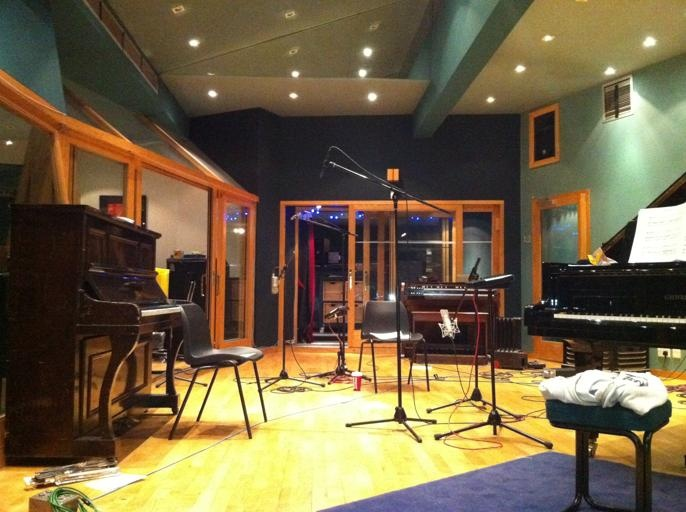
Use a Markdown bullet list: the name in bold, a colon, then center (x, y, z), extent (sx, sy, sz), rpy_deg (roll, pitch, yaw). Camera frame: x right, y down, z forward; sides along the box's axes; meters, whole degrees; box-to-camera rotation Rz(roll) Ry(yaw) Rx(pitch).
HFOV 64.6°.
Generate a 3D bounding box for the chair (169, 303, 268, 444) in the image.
- **chair**: center (-1.032, 0.946, 4.552), extent (0.833, 1.073, 0.812), rpy_deg (-3, -3, 30)

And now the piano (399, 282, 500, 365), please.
- **piano**: center (1.370, 0.827, 7.139), extent (1.406, 1.510, 1.038), rpy_deg (0, -4, 1)

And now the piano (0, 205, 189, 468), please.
- **piano**: center (-1.891, 0.651, 4.056), extent (0.882, 1.897, 1.888), rpy_deg (-1, -2, -6)

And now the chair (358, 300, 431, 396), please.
- **chair**: center (0.480, 0.927, 5.850), extent (0.805, 1.362, 0.939), rpy_deg (2, -19, -7)
